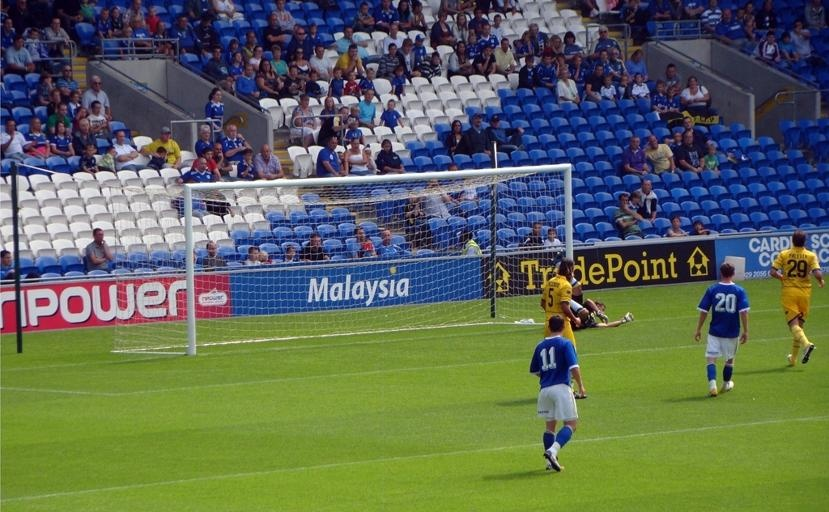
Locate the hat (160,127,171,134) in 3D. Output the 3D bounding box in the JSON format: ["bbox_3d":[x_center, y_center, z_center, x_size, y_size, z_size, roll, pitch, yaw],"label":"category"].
[{"bbox_3d":[-7.550,-3.854,43.609,0.275,0.172,0.349,1,-7,-32],"label":"hat"}]

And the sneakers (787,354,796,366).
[{"bbox_3d":[9.213,2.586,35.462,0.193,0.274,0.344,0,5,14],"label":"sneakers"}]

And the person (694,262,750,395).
[{"bbox_3d":[7.165,1.714,33.885,1.158,3.141,1.196,0,6,11],"label":"person"}]

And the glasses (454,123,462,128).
[{"bbox_3d":[1.350,-4.248,45.981,0.163,0.185,0.192,-4,-36,-2],"label":"glasses"}]

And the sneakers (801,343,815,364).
[{"bbox_3d":[9.562,2.412,35.257,0.217,0.498,0.277,12,10,-24],"label":"sneakers"}]

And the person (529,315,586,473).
[{"bbox_3d":[3.017,2.988,30.914,0.911,3.292,0.792,-3,6,-11],"label":"person"}]
